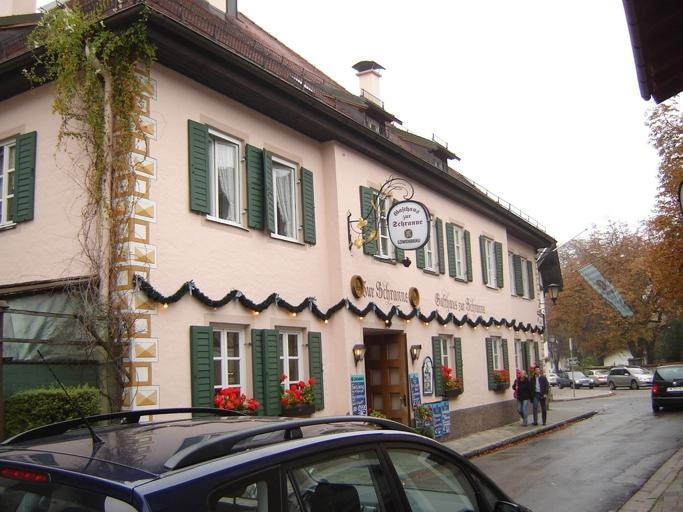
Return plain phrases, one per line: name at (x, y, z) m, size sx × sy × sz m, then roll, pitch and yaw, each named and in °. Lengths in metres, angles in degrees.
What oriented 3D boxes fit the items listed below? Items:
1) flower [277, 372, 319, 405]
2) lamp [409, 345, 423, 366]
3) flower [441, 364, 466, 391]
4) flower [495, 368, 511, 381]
flower at (-0.898, 2.735, 12.817) m, size 0.574 × 0.543 × 0.727 m, roll -7°, pitch -8°, yaw 42°
lamp at (1.919, 2.628, 16.982) m, size 0.260 × 0.647 × 0.460 m, roll -9°, pitch -13°, yaw 38°
flower at (3.089, 3.592, 18.671) m, size 0.681 × 0.728 × 0.914 m, roll 5°, pitch -7°, yaw -21°
flower at (5.456, 4.107, 22.059) m, size 0.451 × 0.372 × 0.474 m, roll -5°, pitch -8°, yaw 27°
